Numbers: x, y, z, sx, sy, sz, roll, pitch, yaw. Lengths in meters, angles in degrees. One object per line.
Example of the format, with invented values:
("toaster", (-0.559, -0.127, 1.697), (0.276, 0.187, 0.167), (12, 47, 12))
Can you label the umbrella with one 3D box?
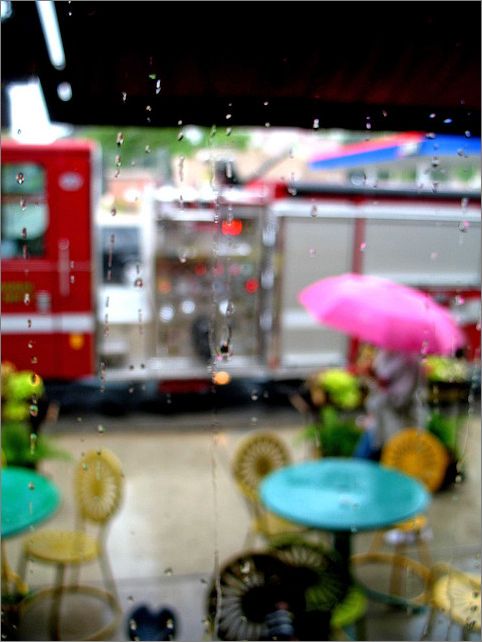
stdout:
("umbrella", (0.745, -0.035, 3.142), (0.840, 0.402, 0.609), (5, 6, 21))
